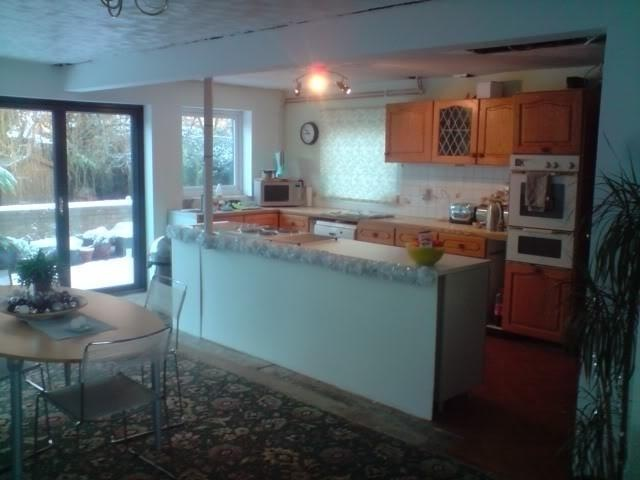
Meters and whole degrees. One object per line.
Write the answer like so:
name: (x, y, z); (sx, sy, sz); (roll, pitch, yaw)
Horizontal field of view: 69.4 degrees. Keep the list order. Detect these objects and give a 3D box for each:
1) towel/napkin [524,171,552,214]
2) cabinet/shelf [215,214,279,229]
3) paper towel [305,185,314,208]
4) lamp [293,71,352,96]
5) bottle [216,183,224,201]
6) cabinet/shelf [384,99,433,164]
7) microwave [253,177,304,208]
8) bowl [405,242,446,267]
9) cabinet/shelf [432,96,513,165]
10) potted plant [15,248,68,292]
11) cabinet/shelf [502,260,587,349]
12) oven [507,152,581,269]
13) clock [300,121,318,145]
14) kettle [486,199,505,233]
towel/napkin: (2.222, -0.488, 4.734); (0.225, 0.414, 0.092); (6, 11, 24)
cabinet/shelf: (-1.080, -0.315, 7.025); (1.116, 0.280, 0.209); (-9, 15, -44)
paper towel: (-0.179, -0.729, 7.699); (0.121, 0.326, 0.259); (4, 11, 14)
lamp: (0.050, -2.174, 6.371); (0.657, 0.267, 0.739); (-1, 3, -5)
bottle: (-1.633, -0.778, 7.469); (0.138, 0.225, 0.461); (-1, 11, -11)
cabinet/shelf: (1.274, -1.482, 6.353); (0.718, 0.793, 0.549); (10, 19, 36)
microwave: (-0.661, -0.751, 7.392); (0.682, 0.441, 0.473); (-2, 4, -27)
bowl: (0.816, 0.108, 3.617); (0.192, 0.108, 0.195); (3, 6, 0)
cabinet/shelf: (1.957, -1.332, 5.657); (1.028, 0.767, 0.397); (7, 18, 30)
potted plant: (-1.960, 0.191, 3.281); (0.296, 0.316, 0.291); (0, 2, -10)
cabinet/shelf: (2.324, 0.734, 5.072); (0.734, 0.844, 0.489); (7, -19, 19)
oven: (2.530, -0.333, 5.023); (0.847, 1.204, 0.830); (-5, 9, -27)
clock: (-0.189, -1.781, 7.670); (0.080, 0.350, 0.345); (-7, 17, -40)
kettle: (2.040, -0.288, 5.366); (0.199, 0.360, 0.170); (5, 11, 19)
